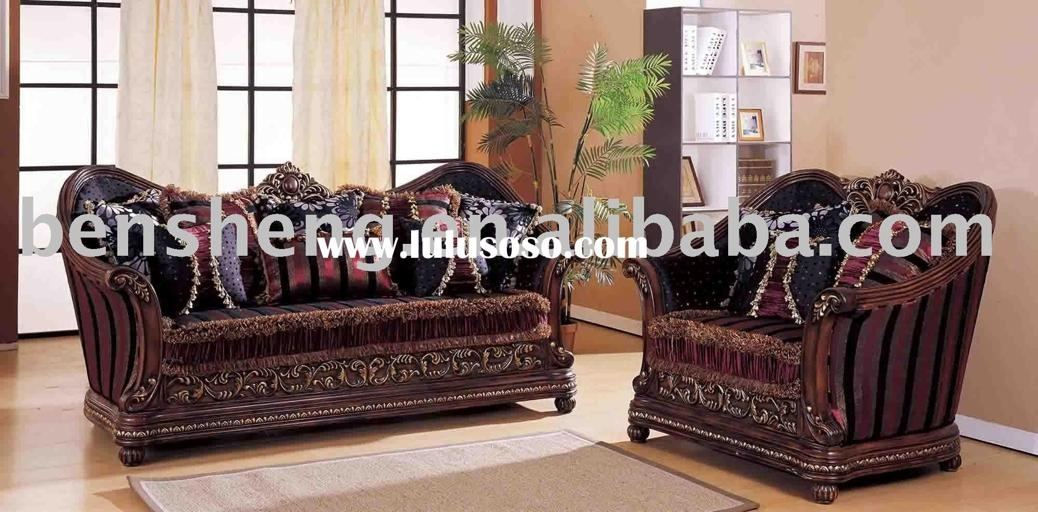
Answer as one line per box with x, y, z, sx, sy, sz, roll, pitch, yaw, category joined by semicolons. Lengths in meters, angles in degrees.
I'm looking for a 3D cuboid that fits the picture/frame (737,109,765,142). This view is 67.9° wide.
2.307;-1.287;7.688;0.411;0.407;0.019;0;-2;-17;picture/frame

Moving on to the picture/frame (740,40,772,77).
2.364;-1.951;7.673;0.439;0.448;0.052;-3;-3;-20;picture/frame
